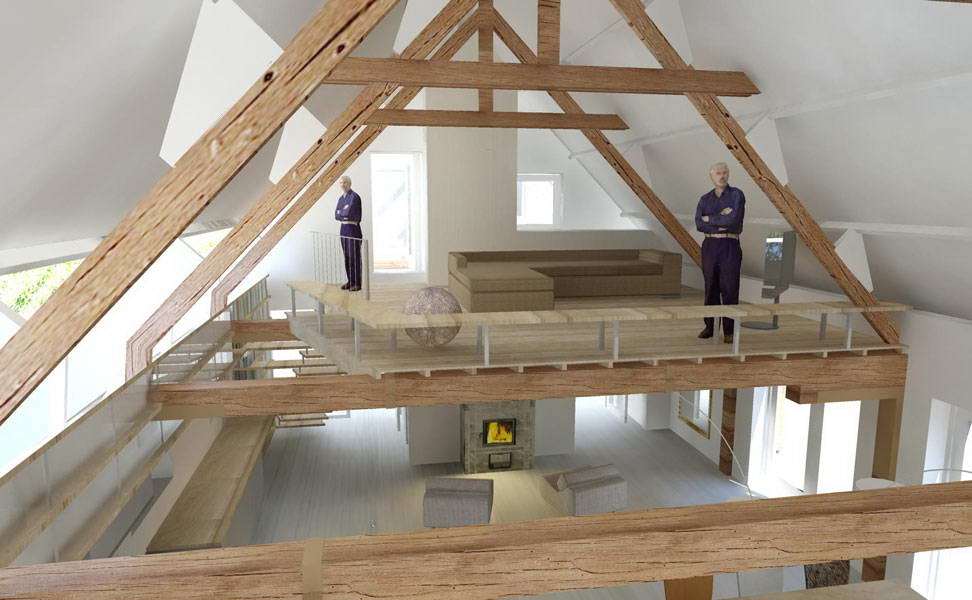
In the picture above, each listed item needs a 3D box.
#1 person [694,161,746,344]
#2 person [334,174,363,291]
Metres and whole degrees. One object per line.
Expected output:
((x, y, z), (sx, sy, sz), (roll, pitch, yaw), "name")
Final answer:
((2.846, -0.773, 8.610), (0.585, 1.771, 0.435), (7, 16, 26), "person")
((-2.153, -1.041, 11.195), (0.373, 1.823, 0.815), (-3, 15, -10), "person")
